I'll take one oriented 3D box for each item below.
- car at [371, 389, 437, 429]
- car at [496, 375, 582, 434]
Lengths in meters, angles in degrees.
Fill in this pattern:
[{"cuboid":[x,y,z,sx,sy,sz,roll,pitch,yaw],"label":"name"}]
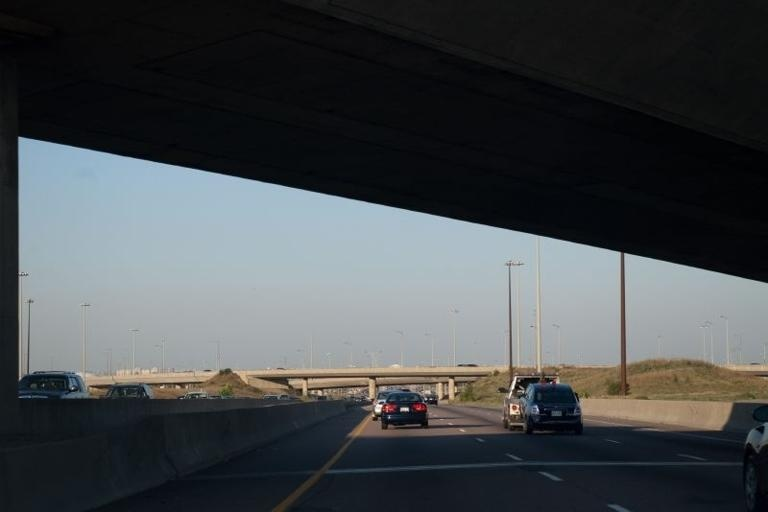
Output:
[{"cuboid":[0.916,7.055,41.167,2.020,1.790,1.989,3,-11,5],"label":"car"},{"cuboid":[6.291,5.925,36.314,2.017,1.371,3.764,3,-5,-1],"label":"car"}]
